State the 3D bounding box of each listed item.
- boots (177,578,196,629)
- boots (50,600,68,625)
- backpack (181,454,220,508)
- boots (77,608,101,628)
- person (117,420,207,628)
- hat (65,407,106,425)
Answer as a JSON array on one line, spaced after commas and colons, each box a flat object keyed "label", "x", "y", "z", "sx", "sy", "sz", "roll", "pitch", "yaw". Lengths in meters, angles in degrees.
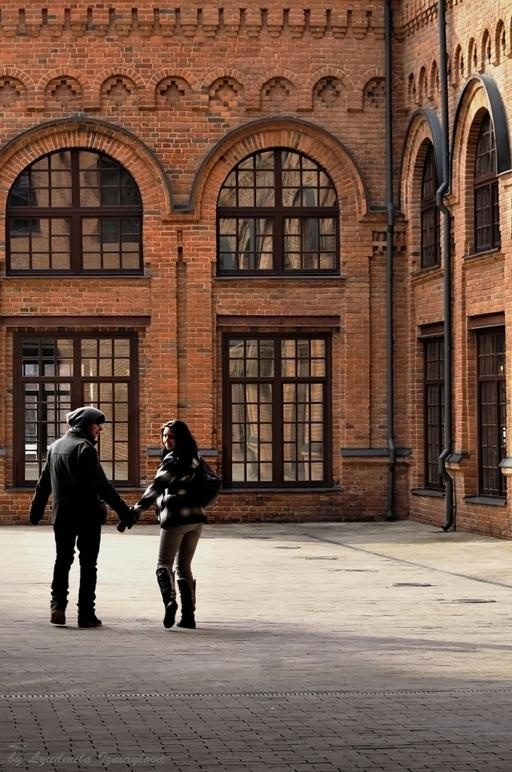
[{"label": "boots", "x": -0.499, "y": 1.569, "z": 9.604, "sx": 0.135, "sy": 0.309, "sz": 0.303, "roll": -5, "pitch": 7, "yaw": -3}, {"label": "boots", "x": -1.415, "y": 1.634, "z": 9.563, "sx": 0.106, "sy": 0.169, "sz": 0.146, "roll": -5, "pitch": 7, "yaw": -3}, {"label": "backpack", "x": -0.384, "y": 0.740, "z": 9.842, "sx": 0.219, "sy": 0.369, "sz": 0.355, "roll": -6, "pitch": -19, "yaw": -5}, {"label": "boots", "x": -1.188, "y": 1.666, "z": 9.546, "sx": 0.091, "sy": 0.153, "sz": 0.153, "roll": 2, "pitch": -4, "yaw": -18}, {"label": "person", "x": -0.605, "y": 1.031, "z": 9.659, "sx": 0.498, "sy": 1.540, "sz": 0.753, "roll": -5, "pitch": 7, "yaw": -3}, {"label": "hat", "x": -1.292, "y": 0.251, "z": 9.997, "sx": 0.247, "sy": 0.154, "sz": 0.169, "roll": 0, "pitch": 6, "yaw": 9}]
